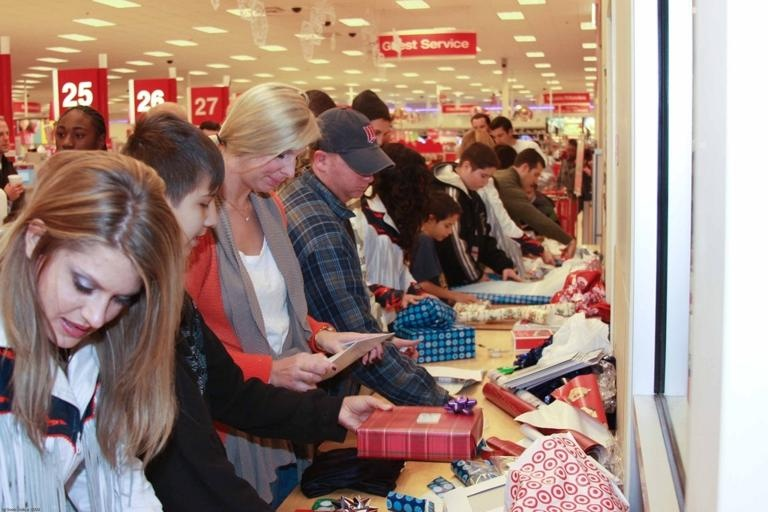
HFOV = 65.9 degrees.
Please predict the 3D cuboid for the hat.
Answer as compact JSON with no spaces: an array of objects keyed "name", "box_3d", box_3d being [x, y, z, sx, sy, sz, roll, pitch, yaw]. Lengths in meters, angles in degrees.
[{"name":"hat","box_3d":[-0.168,-0.474,2.526,0.358,0.195,0.226,24,31,15]}]
